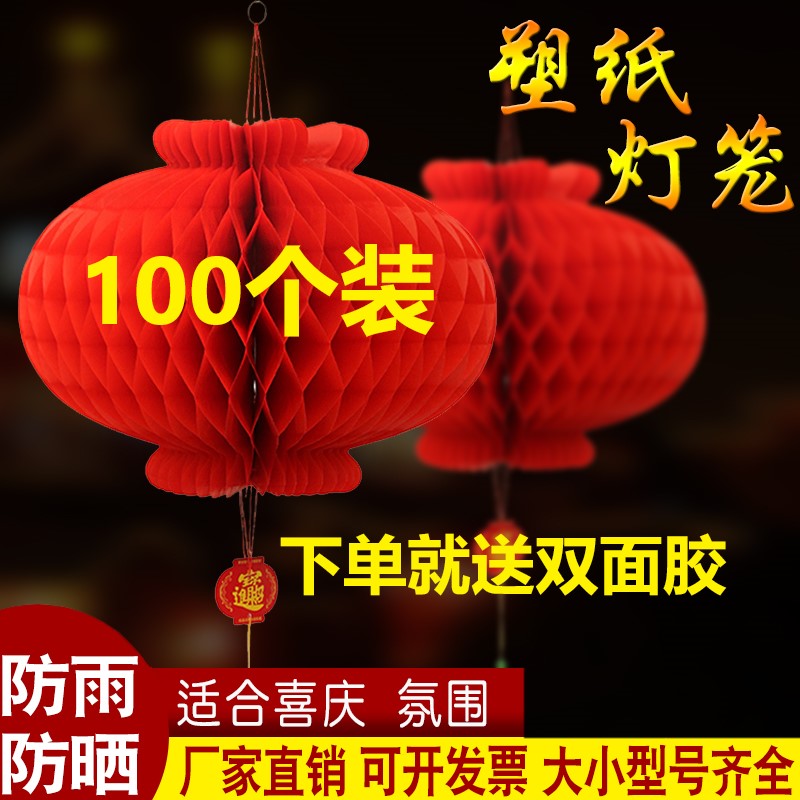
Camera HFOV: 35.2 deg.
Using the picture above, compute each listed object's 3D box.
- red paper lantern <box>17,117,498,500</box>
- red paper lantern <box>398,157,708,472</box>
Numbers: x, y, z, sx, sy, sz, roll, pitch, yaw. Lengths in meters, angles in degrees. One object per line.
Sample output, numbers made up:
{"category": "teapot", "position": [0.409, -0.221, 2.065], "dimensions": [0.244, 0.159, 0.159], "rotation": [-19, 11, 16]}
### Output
{"category": "red paper lantern", "position": [-0.193, -0.127, 1.717], "dimensions": [0.537, 0.482, 0.517], "rotation": [2, 4, 37]}
{"category": "red paper lantern", "position": [0.287, -0.144, 2.281], "dimensions": [0.467, 0.398, 0.524], "rotation": [0, -1, -4]}
